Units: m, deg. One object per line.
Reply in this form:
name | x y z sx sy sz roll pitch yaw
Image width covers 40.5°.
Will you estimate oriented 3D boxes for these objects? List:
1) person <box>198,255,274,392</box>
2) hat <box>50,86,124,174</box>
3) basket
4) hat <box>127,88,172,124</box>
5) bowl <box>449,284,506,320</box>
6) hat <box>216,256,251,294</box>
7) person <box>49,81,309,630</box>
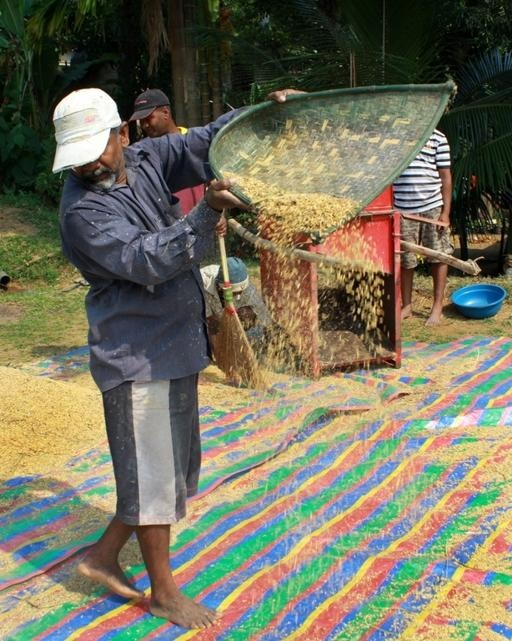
person | -0.135 0.041 4.662 0.664 0.825 0.282 -18 -4 4
hat | -0.532 -0.589 2.138 0.211 0.239 0.195 -6 15 -14
basket | 0.274 -0.623 2.655 0.923 0.563 0.209 -33 -19 4
hat | -0.709 -1.437 4.671 0.324 0.148 0.210 -25 30 -17
bowl | 1.977 -0.169 6.151 0.442 0.257 0.570 2 13 15
hat | -0.124 -0.327 4.798 0.227 0.212 0.261 -3 14 -15
person | -0.366 0.140 2.401 0.643 1.819 0.696 -3 15 -2
